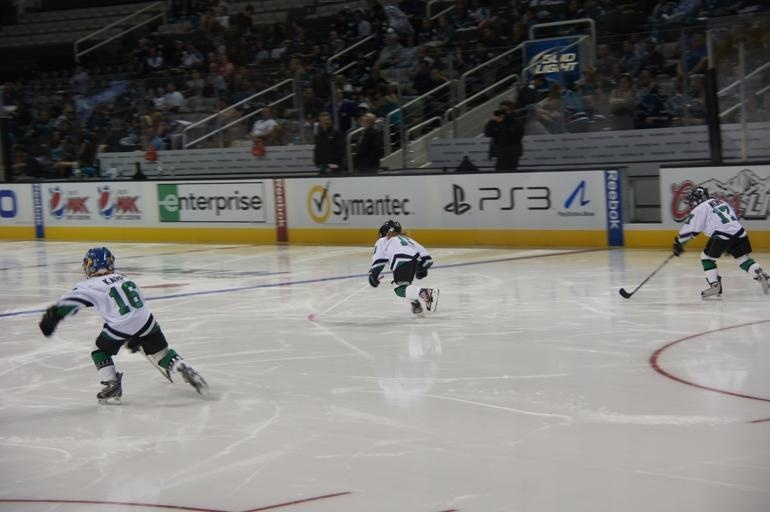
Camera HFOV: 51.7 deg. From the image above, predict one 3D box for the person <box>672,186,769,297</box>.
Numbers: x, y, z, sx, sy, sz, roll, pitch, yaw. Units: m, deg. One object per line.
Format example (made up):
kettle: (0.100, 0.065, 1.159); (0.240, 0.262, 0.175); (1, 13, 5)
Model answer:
person: (4.448, -0.191, 10.581); (1.018, 1.418, 0.849); (-8, 12, -6)

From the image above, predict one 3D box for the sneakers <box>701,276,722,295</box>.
sneakers: (4.301, 0.405, 10.536); (0.254, 0.262, 0.261); (-2, 12, 18)

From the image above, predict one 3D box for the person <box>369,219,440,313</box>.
person: (0.215, 0.133, 10.161); (0.841, 0.603, 1.458); (-11, 18, -18)

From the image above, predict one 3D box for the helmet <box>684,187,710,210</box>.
helmet: (4.198, -0.786, 10.891); (0.389, 0.275, 0.310); (11, 6, 24)

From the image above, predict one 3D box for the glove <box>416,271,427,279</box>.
glove: (0.464, 0.256, 10.450); (0.119, 0.098, 0.108); (-6, -3, 7)

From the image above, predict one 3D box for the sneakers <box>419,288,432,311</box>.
sneakers: (0.489, 0.559, 10.067); (0.174, 0.290, 0.117); (-15, -10, -5)

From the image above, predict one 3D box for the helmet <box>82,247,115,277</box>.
helmet: (-2.728, 0.057, 7.726); (0.353, 0.254, 0.356); (-7, 12, -31)

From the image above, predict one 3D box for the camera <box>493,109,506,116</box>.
camera: (2.210, -2.784, 15.599); (0.234, 0.140, 0.057); (3, 17, 37)

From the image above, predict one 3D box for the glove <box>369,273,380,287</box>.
glove: (-0.144, 0.316, 10.294); (0.123, 0.227, 0.323); (-7, 10, -2)
